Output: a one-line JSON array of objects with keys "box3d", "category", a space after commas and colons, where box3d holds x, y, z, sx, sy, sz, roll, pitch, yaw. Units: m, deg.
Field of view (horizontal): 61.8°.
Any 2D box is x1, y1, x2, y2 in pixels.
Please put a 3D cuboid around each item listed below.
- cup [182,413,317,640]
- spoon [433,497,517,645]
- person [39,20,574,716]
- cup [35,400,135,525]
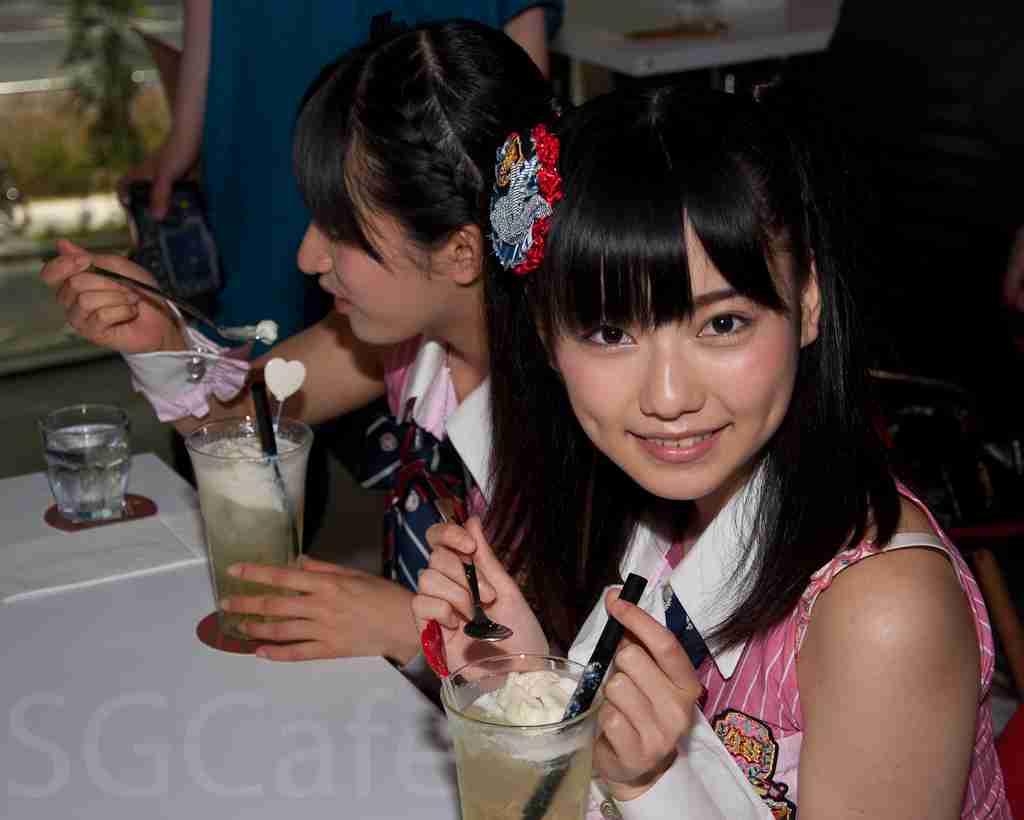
[{"box3d": [-0.395, 0.155, 1.360, 0.171, 0.349, 0.188, -18, 21, -40], "category": "cup"}, {"box3d": [-0.061, 0.227, 1.301, 0.065, 0.048, 0.329, -9, 56, -13], "category": "spoon"}, {"box3d": [-0.406, -0.131, 1.710, 0.726, 1.616, 0.637, -12, 28, -26], "category": "person"}, {"box3d": [-0.768, 0.087, 1.652, 0.196, 0.258, 0.208, 0, 9, 0], "category": "cup"}]
